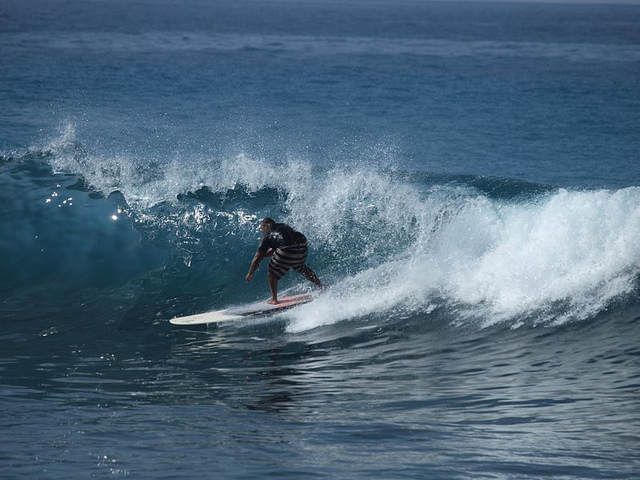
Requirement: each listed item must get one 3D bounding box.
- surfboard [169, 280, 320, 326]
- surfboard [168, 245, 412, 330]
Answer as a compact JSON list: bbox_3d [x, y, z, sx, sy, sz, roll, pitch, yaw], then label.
[{"bbox_3d":[-1.712,1.464,19.688,2.678,0.133,0.474,-12,22,-8],"label":"surfboard"},{"bbox_3d":[-0.737,1.162,19.954,4.161,0.293,0.566,-18,34,-11],"label":"surfboard"}]
